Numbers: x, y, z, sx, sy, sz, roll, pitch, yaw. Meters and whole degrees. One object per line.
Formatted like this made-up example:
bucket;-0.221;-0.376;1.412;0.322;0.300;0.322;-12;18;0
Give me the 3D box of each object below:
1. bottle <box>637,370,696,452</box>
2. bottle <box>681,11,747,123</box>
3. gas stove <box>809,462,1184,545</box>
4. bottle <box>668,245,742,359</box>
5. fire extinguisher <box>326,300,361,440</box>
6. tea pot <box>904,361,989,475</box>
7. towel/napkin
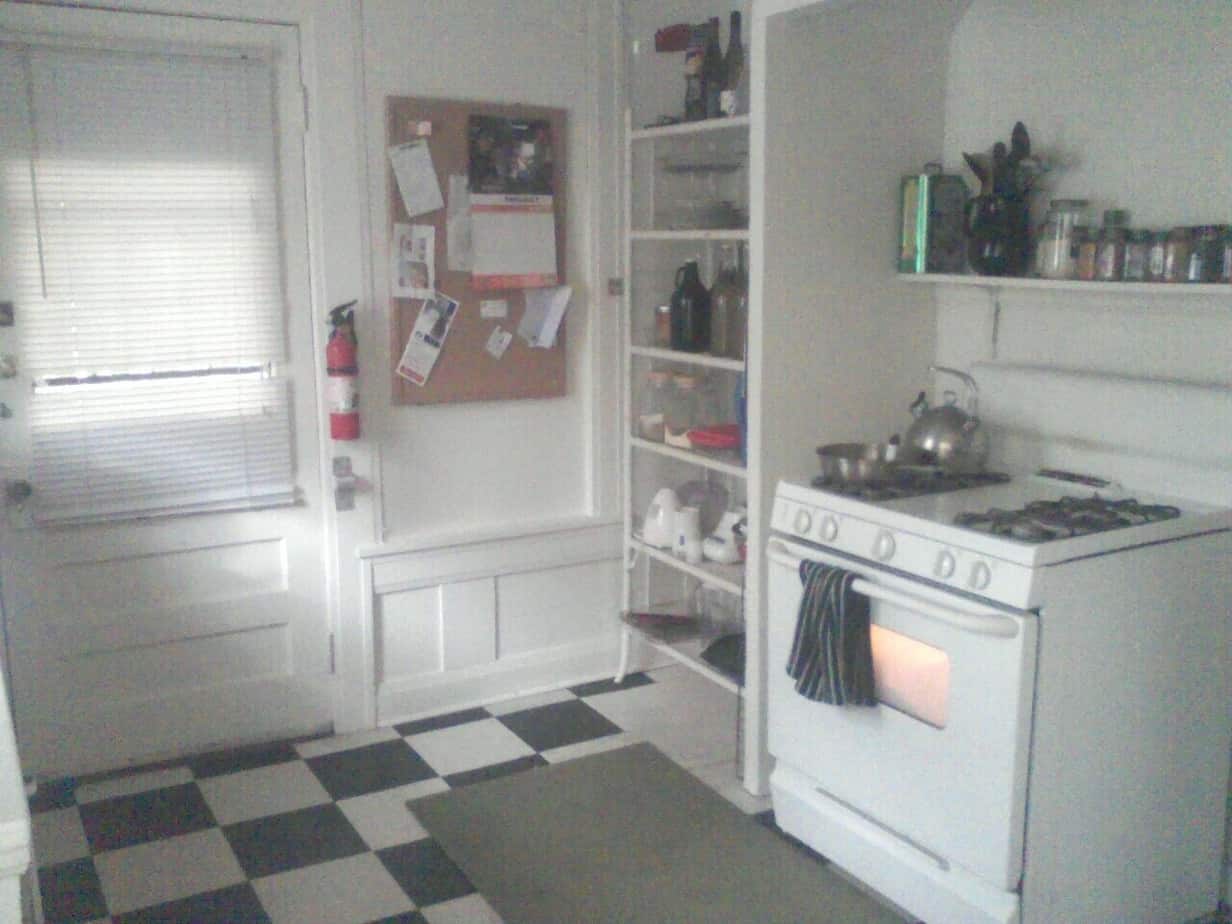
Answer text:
bottle;0.148;-0.162;2.766;0.132;0.224;0.217;4;6;-36
bottle;0.245;-0.989;2.429;0.057;0.235;0.219;-12;17;-32
gas stove;0.814;0.054;2.093;0.460;0.069;0.677;-13;18;-34
bottle;0.247;-0.427;2.576;0.101;0.287;0.299;-1;6;-25
fire extinguisher;-0.740;-0.238;2.632;0.115;0.383;0.064;-10;16;-28
tea pot;0.810;-0.121;2.364;0.192;0.234;0.362;2;15;18
towel/napkin;0.482;0.377;2.096;0.235;0.306;0.109;19;33;34
